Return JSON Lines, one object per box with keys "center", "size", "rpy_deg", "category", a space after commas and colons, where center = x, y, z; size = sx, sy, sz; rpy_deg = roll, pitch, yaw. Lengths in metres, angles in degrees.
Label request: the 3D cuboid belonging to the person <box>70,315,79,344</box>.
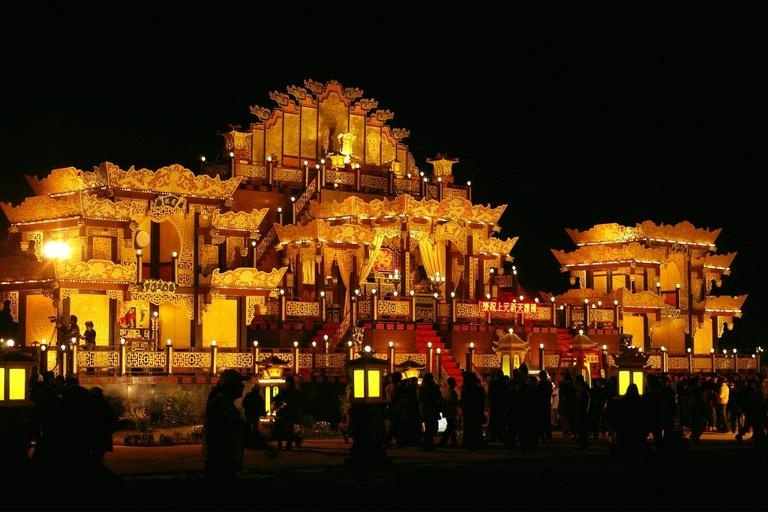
{"center": [-9.056, 2.174, 34.836], "size": [0.342, 0.892, 0.631], "rpy_deg": [5, -14, -14], "category": "person"}
